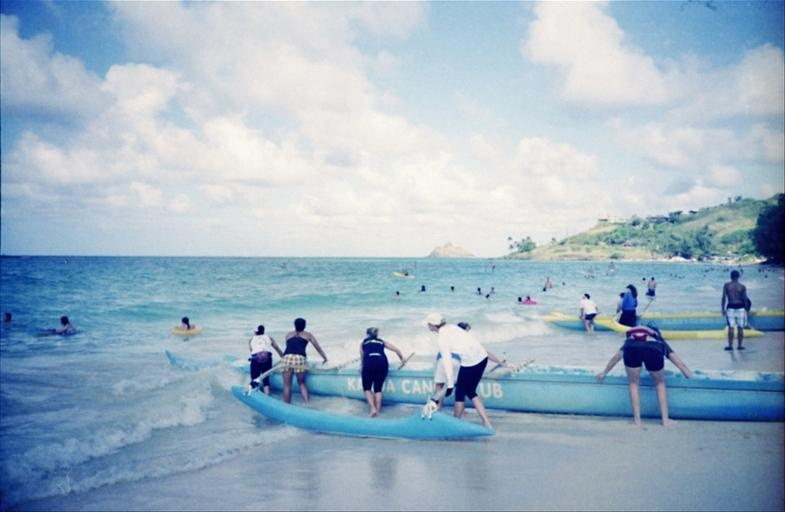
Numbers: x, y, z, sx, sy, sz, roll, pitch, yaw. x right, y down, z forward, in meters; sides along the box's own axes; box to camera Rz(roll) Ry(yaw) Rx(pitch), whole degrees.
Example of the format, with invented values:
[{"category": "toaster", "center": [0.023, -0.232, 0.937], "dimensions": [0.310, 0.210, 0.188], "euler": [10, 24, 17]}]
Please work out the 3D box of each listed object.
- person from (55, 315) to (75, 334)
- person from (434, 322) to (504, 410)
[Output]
[{"category": "person", "center": [-11.280, 2.401, 19.912], "dimensions": [0.581, 0.614, 1.399], "euler": [1, -5, -30]}, {"category": "person", "center": [1.350, 2.276, 11.494], "dimensions": [1.147, 2.212, 1.276], "euler": [-2, -4, 8]}]
